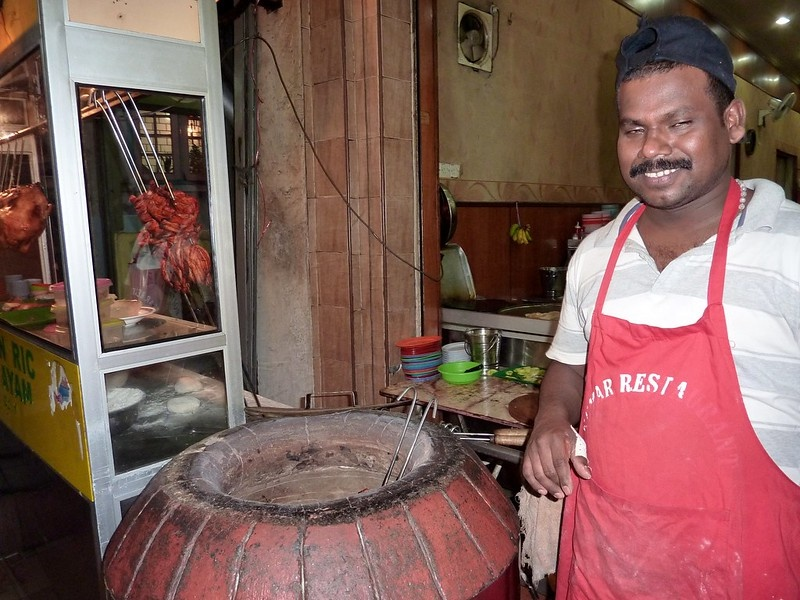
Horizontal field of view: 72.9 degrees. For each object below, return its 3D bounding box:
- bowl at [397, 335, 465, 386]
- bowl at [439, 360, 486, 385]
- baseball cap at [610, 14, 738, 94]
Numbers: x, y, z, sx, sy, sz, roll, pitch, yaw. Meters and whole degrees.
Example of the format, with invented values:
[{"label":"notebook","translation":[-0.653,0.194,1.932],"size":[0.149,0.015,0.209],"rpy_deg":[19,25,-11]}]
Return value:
[{"label":"bowl","translation":[0.178,0.338,3.178],"size":[0.254,0.198,0.241],"rpy_deg":[-6,11,1]},{"label":"bowl","translation":[0.345,0.412,3.099],"size":[0.150,0.066,0.153],"rpy_deg":[-12,4,1]},{"label":"baseball cap","translation":[0.705,-0.616,1.379],"size":[0.302,0.174,0.230],"rpy_deg":[14,9,13]}]
